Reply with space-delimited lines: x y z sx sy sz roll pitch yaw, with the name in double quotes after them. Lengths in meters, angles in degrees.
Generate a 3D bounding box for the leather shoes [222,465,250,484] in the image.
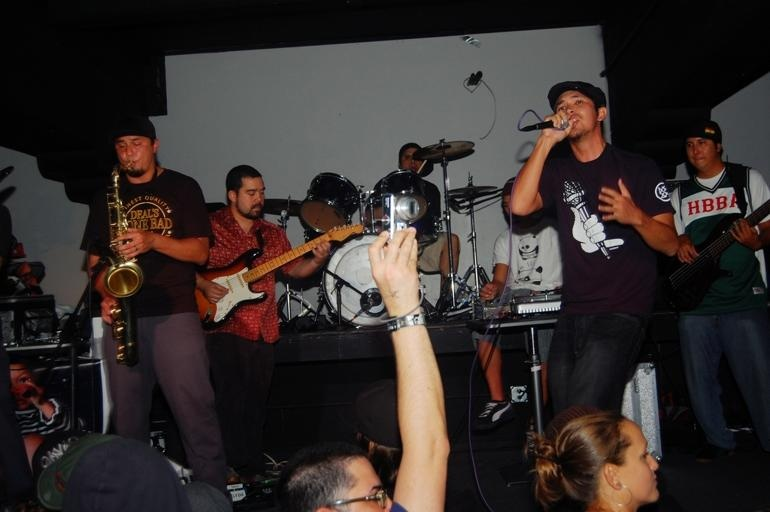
-1.175 1.725 4.659 0.165 0.137 0.275 5 -27 1 "leather shoes"

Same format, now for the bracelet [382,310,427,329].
0.092 0.281 2.603 0.164 0.077 0.113 -4 -4 -3 "bracelet"

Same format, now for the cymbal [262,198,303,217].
-1.138 -0.551 6.459 0.242 0.067 0.271 1 -8 25 "cymbal"

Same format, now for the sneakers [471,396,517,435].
0.960 1.355 5.077 0.541 0.259 0.195 -6 3 -42 "sneakers"

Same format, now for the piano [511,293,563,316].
1.044 0.320 4.054 0.380 0.126 0.124 -7 -47 9 "piano"

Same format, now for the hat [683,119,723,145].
2.591 -0.999 4.807 0.207 0.156 0.204 -1 3 -25 "hat"

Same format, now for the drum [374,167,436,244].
0.272 -0.554 6.116 0.637 0.792 0.733 3 1 -9 "drum"

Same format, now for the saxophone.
-1.845 0.049 4.095 0.223 1.400 0.350 0 -5 -45 "saxophone"

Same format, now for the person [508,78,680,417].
1.328 -0.091 3.760 0.962 2.131 0.474 -3 -3 -13 "person"
